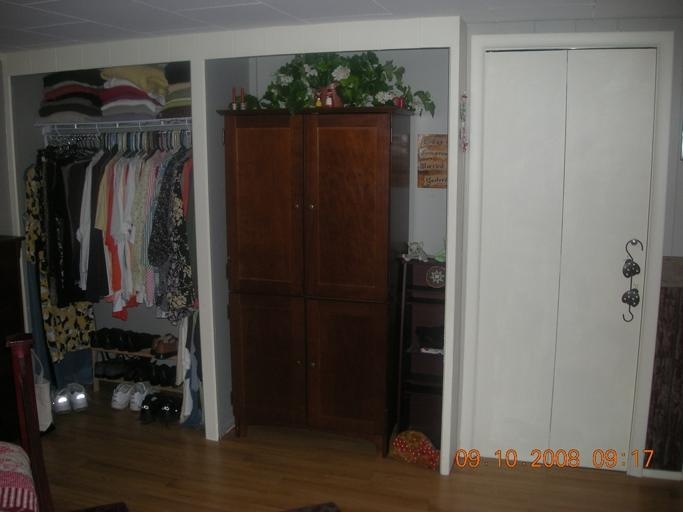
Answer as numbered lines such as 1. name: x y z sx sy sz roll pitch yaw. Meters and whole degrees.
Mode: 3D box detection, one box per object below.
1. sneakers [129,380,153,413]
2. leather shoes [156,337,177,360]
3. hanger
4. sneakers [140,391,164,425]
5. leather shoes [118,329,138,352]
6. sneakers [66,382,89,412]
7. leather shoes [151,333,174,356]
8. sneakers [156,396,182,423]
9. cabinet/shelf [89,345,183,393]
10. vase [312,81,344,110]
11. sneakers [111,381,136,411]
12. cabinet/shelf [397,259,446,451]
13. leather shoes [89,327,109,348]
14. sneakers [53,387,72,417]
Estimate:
1. sneakers: -1.637 1.139 4.611 0.097 0.117 0.271 1 22 3
2. leather shoes: -1.442 0.761 4.654 0.118 0.103 0.220 2 11 3
3. hanger: -1.777 -0.919 4.470 1.407 0.194 0.341 3 6 23
4. sneakers: -1.521 1.207 4.502 0.162 0.146 0.263 -1 6 -19
5. leather shoes: -1.784 0.715 4.750 0.150 0.138 0.204 -2 6 -22
6. sneakers: -2.148 1.150 4.607 0.102 0.112 0.263 -3 17 -24
7. leather shoes: -1.459 0.723 4.625 0.101 0.109 0.231 3 9 7
8. sneakers: -1.362 1.218 4.500 0.152 0.157 0.284 5 2 4
9. cabinet/shelf: -1.785 0.961 4.776 0.439 0.242 0.610 2 6 14
10. vase: -0.102 -1.130 3.922 0.195 0.264 0.199 -7 18 -19
11. sneakers: -1.796 1.145 4.664 0.105 0.133 0.326 1 14 4
12. cabinet/shelf: 0.563 0.694 4.037 0.307 1.331 0.160 1 5 5
13. leather shoes: -2.054 0.705 4.827 0.114 0.170 0.164 -6 -20 16
14. sneakers: -2.250 1.173 4.545 0.128 0.159 0.138 -3 6 -35
